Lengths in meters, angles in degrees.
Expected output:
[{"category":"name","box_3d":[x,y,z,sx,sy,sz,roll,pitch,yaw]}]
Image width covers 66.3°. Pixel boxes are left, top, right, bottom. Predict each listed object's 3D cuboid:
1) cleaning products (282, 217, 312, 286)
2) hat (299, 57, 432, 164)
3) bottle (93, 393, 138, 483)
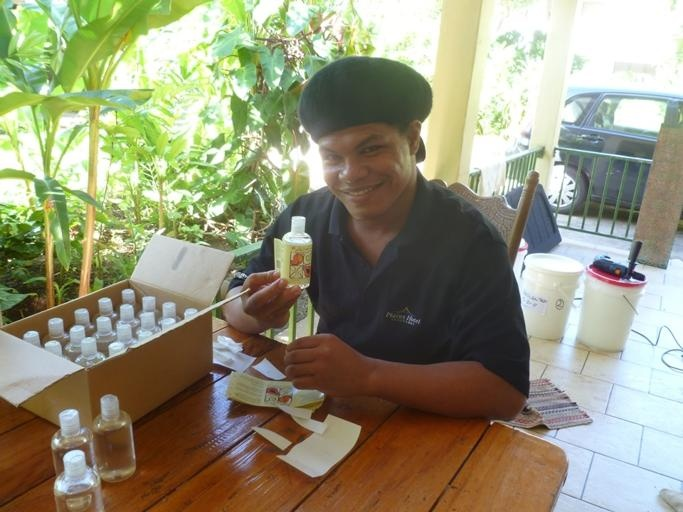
[{"category":"cleaning products","box_3d":[-0.141,-0.007,1.601,0.072,0.230,0.078,-4,19,-19]},{"category":"hat","box_3d":[0.093,-0.474,1.709,0.334,0.292,0.321,13,21,37]},{"category":"bottle","box_3d":[-0.569,0.467,1.298,0.089,0.230,0.069,-12,24,-34]}]
